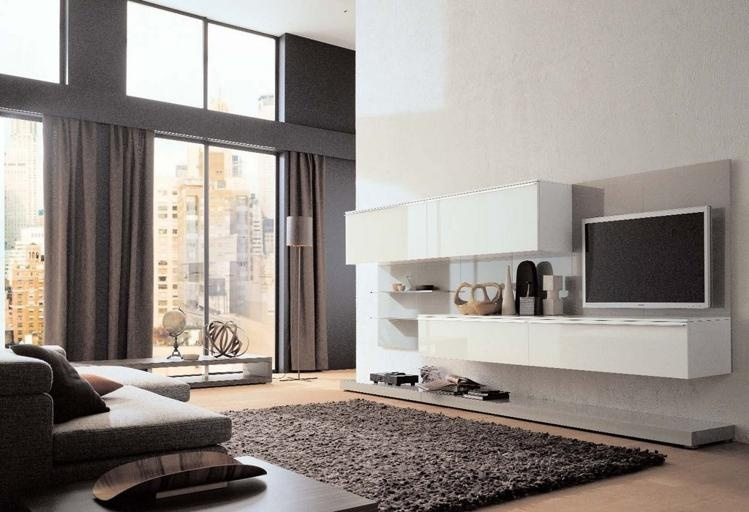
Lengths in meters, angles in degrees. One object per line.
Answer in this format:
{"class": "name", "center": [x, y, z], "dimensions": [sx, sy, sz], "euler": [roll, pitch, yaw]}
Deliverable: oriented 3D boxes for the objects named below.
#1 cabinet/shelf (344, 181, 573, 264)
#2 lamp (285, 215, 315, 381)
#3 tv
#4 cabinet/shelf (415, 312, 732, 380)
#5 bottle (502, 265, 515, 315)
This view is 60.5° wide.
{"class": "cabinet/shelf", "center": [0.757, -0.316, 6.416], "dimensions": [2.366, 0.771, 0.413], "euler": [2, 4, 40]}
{"class": "lamp", "center": [-1.007, 0.528, 8.670], "dimensions": [0.316, 2.185, 0.998], "euler": [-1, 3, -8]}
{"class": "tv", "center": [2.264, 0.001, 5.280], "dimensions": [0.882, 0.820, 0.224], "euler": [1, 4, 31]}
{"class": "cabinet/shelf", "center": [1.572, 0.709, 5.487], "dimensions": [2.455, 0.559, 0.403], "euler": [1, 4, 35]}
{"class": "bottle", "center": [1.285, 0.303, 6.128], "dimensions": [0.124, 0.455, 0.325], "euler": [0, 3, 11]}
